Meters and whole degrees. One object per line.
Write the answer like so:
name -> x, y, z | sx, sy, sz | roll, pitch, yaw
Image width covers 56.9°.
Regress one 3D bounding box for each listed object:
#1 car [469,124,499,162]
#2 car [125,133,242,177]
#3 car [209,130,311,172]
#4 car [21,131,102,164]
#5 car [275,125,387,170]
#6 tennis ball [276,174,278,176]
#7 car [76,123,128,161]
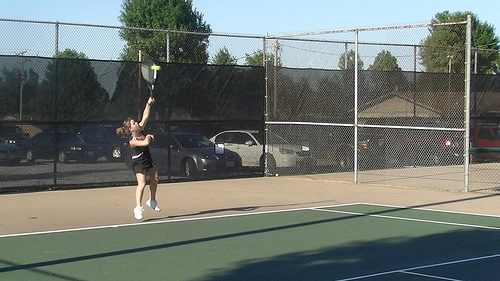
car -> 14.983, 0.003, 29.473 | 2.563, 2.112, 0.830 | 0, 0, 0
car -> -2.952, 0.597, 21.040 | 3.889, 1.382, 2.004 | -1, 1, 19
car -> 0.605, 0.393, 22.590 | 4.383, 1.395, 1.870 | -1, 1, 9
car -> -7.665, 0.242, 18.933 | 2.335, 0.947, 1.277 | -1, 1, 1
car -> 4.719, 0.140, 24.480 | 5.425, 1.768, 2.556 | -2, 2, -10
tennis ball -> 1.294, 1.624, 22.434 | 0.104, 0.114, 0.103 | 0, -5, 0
car -> -6.849, 0.003, 19.861 | 2.813, 1.403, 1.611 | 0, 3, 10
